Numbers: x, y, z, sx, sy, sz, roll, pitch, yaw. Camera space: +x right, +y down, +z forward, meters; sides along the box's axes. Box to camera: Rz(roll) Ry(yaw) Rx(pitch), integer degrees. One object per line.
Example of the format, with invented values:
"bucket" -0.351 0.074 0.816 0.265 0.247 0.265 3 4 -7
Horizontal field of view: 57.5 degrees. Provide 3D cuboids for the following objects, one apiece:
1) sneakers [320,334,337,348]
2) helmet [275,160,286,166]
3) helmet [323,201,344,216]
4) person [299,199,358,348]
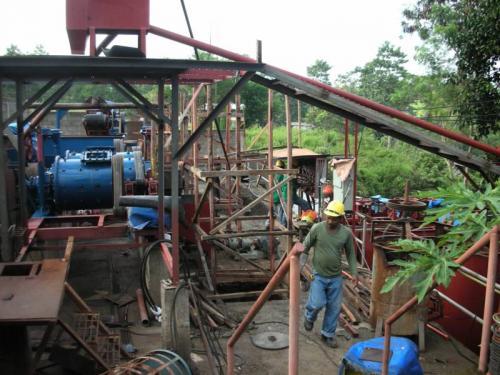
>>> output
"sneakers" 1.450 2.820 8.416 0.150 0.128 0.287 1 -1 -36
"helmet" 0.987 -0.793 14.638 0.282 0.181 0.443 1 6 8
"helmet" 1.544 0.367 8.307 0.313 0.297 0.333 4 7 15
"person" 1.458 1.549 8.398 0.955 2.665 0.483 2 7 4
